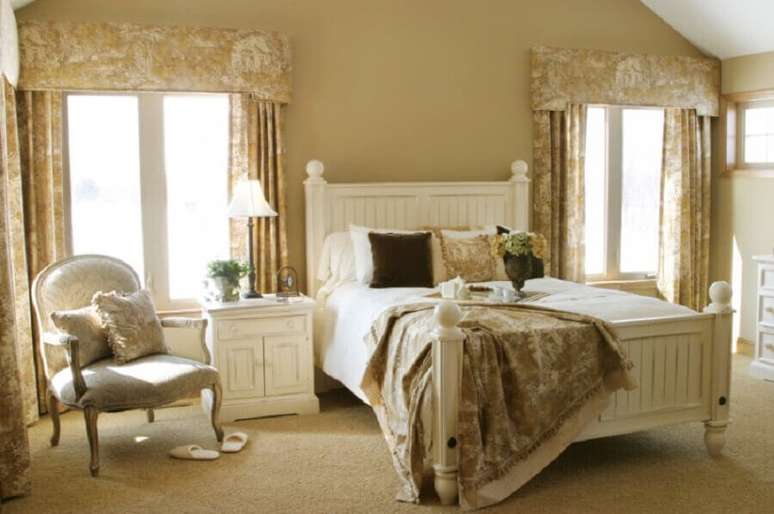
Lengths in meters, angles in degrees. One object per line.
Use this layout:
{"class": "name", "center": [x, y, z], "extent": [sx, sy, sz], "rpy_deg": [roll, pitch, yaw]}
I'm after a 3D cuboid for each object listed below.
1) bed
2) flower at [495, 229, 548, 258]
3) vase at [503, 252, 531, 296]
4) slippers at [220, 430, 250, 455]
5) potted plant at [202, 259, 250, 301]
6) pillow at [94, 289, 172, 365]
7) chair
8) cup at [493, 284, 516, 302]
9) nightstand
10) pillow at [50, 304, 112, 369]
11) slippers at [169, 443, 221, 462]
{"class": "bed", "center": [0.763, 0.376, 5.859], "extent": [2.336, 2.238, 3.395], "rpy_deg": [-3, 6, -25]}
{"class": "flower", "center": [1.053, -0.088, 5.318], "extent": [0.258, 0.146, 0.250], "rpy_deg": [-2, -3, 32]}
{"class": "vase", "center": [1.037, 0.140, 5.356], "extent": [0.241, 0.312, 0.239], "rpy_deg": [-1, 2, 10]}
{"class": "slippers", "center": [-1.105, 1.361, 4.945], "extent": [0.143, 0.079, 0.303], "rpy_deg": [-1, -1, -1]}
{"class": "potted plant", "center": [-1.301, 0.185, 5.545], "extent": [0.395, 0.338, 0.338], "rpy_deg": [0, -3, -9]}
{"class": "pillow", "center": [-1.874, 0.500, 4.954], "extent": [0.165, 0.489, 0.528], "rpy_deg": [-27, -9, 31]}
{"class": "chair", "center": [-1.944, 0.695, 4.964], "extent": [1.125, 1.327, 1.110], "rpy_deg": [5, 8, 33]}
{"class": "cup", "center": [0.900, 0.280, 5.127], "extent": [0.107, 0.113, 0.169], "rpy_deg": [-4, 5, -38]}
{"class": "nightstand", "center": [-1.115, 0.853, 5.668], "extent": [0.987, 0.907, 0.722], "rpy_deg": [0, -3, -36]}
{"class": "pillow", "center": [-2.184, 0.564, 4.886], "extent": [0.280, 0.381, 0.298], "rpy_deg": [8, 17, 30]}
{"class": "slippers", "center": [-1.340, 1.385, 4.797], "extent": [0.281, 0.070, 0.136], "rpy_deg": [0, 3, 7]}
